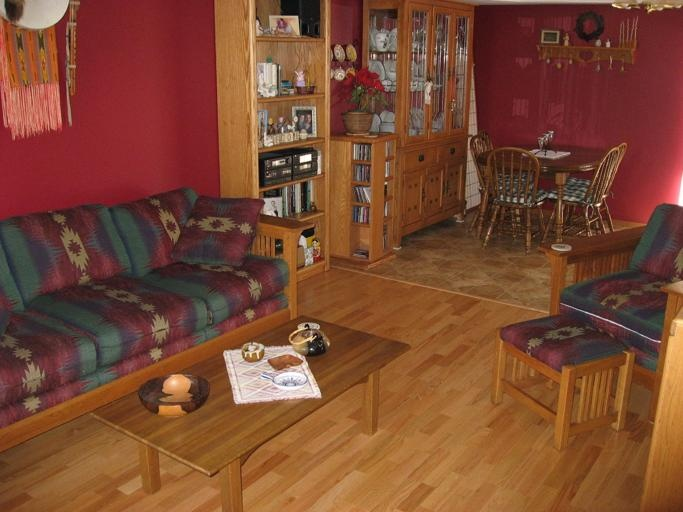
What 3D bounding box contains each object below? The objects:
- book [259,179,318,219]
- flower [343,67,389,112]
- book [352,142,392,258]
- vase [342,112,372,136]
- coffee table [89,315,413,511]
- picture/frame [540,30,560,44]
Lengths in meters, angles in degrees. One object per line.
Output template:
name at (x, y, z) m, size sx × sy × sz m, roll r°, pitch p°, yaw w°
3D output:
book at (-0.476, -0.495, 4.779) m, size 0.141 × 0.344 × 0.436 m, roll 11°, pitch 18°, yaw 41°
flower at (0.237, -1.610, 5.263) m, size 0.489 × 0.363 × 0.466 m, roll 19°, pitch 34°, yaw 30°
book at (0.305, -0.555, 5.229) m, size 0.396 × 1.139 × 0.590 m, roll 2°, pitch 24°, yaw 5°
vase at (0.163, -1.249, 5.208) m, size 0.253 × 0.125 × 0.222 m, roll 0°, pitch 20°, yaw 2°
coffee table at (-0.547, 0.619, 2.438) m, size 0.751 × 0.409 × 1.301 m, roll 18°, pitch 29°, yaw 36°
picture/frame at (2.543, -2.638, 6.604) m, size 0.210 × 0.133 × 0.022 m, roll 11°, pitch 25°, yaw 30°
